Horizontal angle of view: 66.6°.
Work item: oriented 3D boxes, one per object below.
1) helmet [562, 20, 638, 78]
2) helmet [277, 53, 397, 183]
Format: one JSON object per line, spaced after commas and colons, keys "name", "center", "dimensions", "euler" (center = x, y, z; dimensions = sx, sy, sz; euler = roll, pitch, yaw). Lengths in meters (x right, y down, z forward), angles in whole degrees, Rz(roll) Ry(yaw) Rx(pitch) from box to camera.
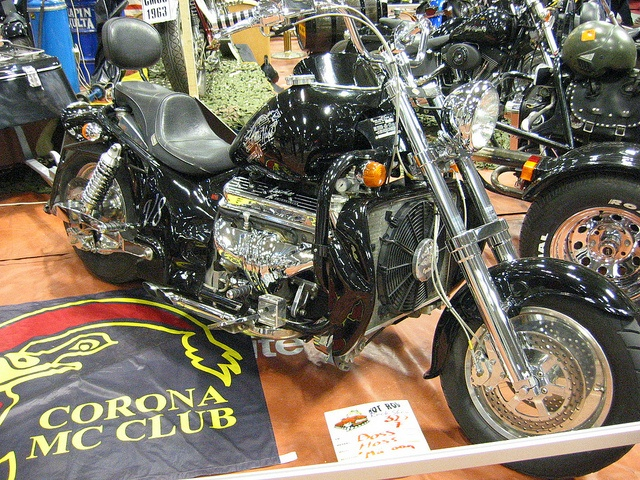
{"name": "helmet", "center": [1.816, -1.250, 3.248], "dimensions": [0.476, 0.258, 0.373], "euler": [31, 60, 32]}
{"name": "helmet", "center": [0.053, -0.522, 2.033], "dimensions": [0.498, 0.491, 0.525], "euler": [1, 40, 1]}
